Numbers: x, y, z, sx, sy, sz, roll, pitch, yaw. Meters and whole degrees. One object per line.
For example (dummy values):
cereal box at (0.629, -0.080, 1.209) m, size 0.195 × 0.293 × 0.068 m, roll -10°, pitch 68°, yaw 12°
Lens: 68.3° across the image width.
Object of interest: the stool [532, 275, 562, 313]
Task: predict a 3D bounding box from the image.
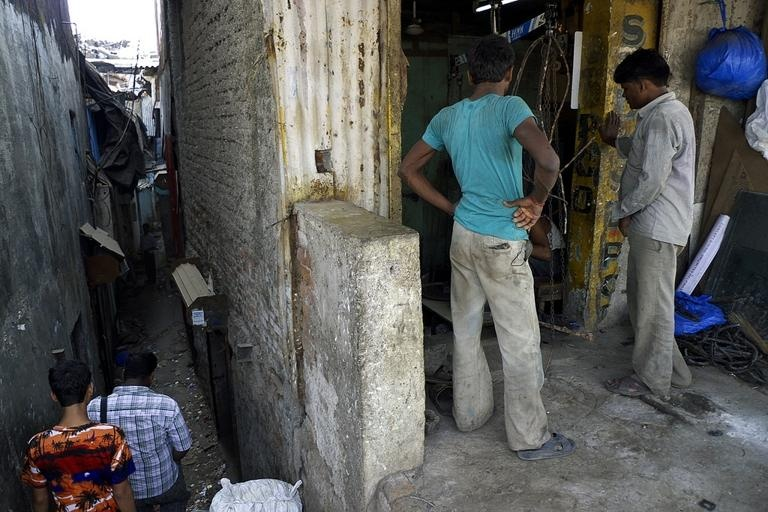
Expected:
stool at (1.729, 0.409, 6.020) m, size 0.319 × 0.429 × 0.449 m, roll 2°, pitch 8°, yaw 17°

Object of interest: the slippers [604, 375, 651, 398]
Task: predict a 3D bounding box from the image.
slippers at (2.090, 1.131, 4.860) m, size 0.203 × 0.044 × 0.207 m, roll 8°, pitch 10°, yaw 33°

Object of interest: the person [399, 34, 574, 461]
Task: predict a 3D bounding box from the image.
person at (0.814, -0.034, 4.227) m, size 0.719 × 2.968 × 1.315 m, roll -14°, pitch 23°, yaw -32°

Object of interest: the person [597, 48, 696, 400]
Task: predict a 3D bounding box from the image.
person at (2.266, -0.248, 4.779) m, size 0.693 × 2.741 × 0.992 m, roll -3°, pitch 20°, yaw -4°

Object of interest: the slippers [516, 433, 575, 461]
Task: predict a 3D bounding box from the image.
slippers at (1.239, 1.454, 4.282) m, size 0.325 × 0.121 × 0.200 m, roll -13°, pitch 13°, yaw -9°
